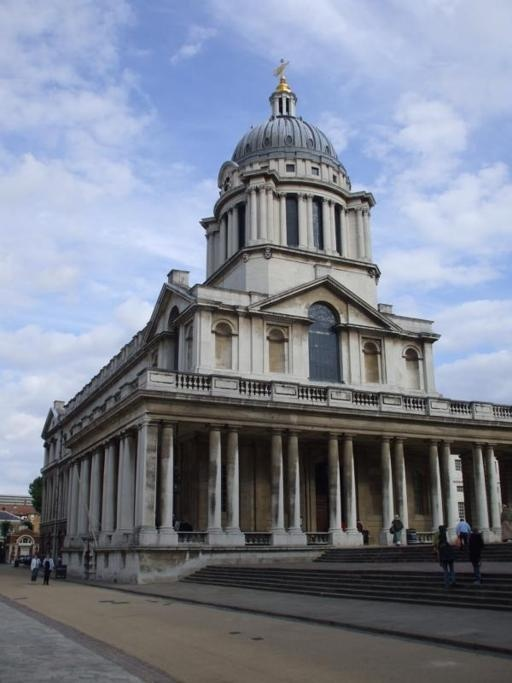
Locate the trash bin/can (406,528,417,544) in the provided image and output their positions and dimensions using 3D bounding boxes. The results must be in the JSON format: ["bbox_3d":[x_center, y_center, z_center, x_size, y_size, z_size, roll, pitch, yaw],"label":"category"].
[{"bbox_3d":[8.110,10.117,32.305,0.509,0.673,0.959,-4,-15,10],"label":"trash bin/can"}]

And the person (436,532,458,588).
[{"bbox_3d":[5.057,5.700,16.508,0.395,1.356,2.318,-5,-15,15],"label":"person"}]

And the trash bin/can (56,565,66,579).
[{"bbox_3d":[-11.492,13.505,36.468,0.428,0.733,0.809,8,-17,-32],"label":"trash bin/can"}]
